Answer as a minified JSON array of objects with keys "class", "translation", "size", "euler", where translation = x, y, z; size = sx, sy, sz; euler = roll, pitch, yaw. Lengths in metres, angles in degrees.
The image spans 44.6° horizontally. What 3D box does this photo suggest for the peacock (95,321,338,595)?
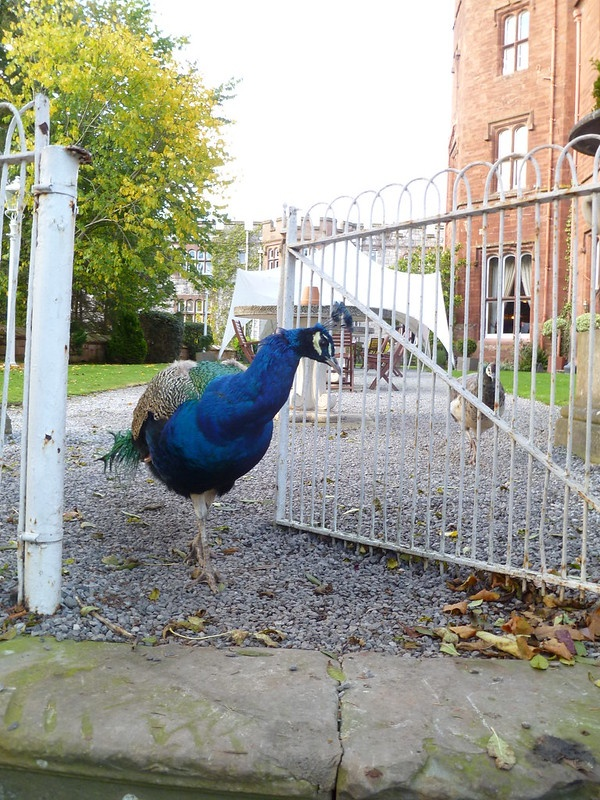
[{"class":"peacock","translation":[-0.386,0.214,3.250],"size":[0.814,1.147,0.533],"euler":[7,4,44]}]
